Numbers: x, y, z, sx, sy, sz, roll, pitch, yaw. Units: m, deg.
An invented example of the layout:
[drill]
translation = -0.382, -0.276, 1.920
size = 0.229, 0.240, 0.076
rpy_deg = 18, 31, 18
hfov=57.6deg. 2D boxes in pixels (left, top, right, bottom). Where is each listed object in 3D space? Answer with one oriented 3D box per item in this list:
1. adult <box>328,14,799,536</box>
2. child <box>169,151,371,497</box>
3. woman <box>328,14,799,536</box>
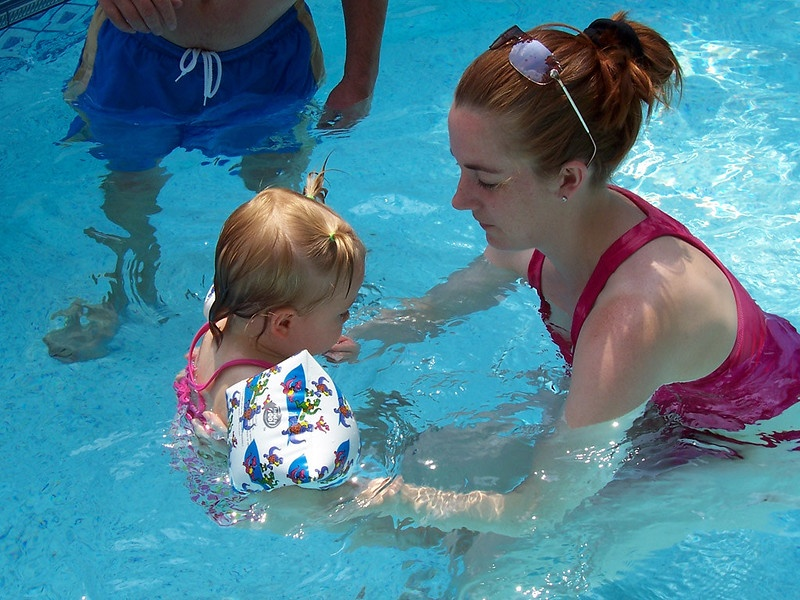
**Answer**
[adult]
translation = 0.824, -0.160, 2.867
size = 1.470, 1.747, 1.306
rpy_deg = -2, 34, 0
[child]
translation = -0.564, 0.137, 3.081
size = 0.830, 1.207, 1.277
rpy_deg = 1, 40, -25
[woman]
translation = 0.824, -0.160, 2.867
size = 1.470, 1.747, 1.306
rpy_deg = -2, 34, 0
